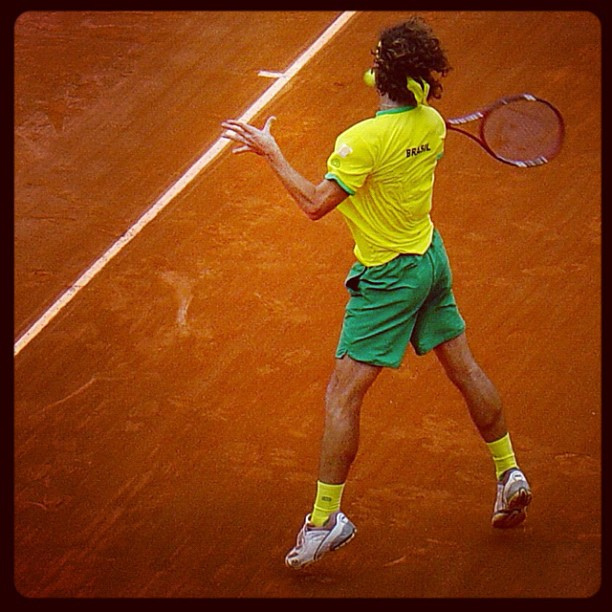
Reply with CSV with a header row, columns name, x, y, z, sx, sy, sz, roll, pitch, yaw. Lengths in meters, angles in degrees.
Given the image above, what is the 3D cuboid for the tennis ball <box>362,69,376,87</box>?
name,x,y,z,sx,sy,sz,roll,pitch,yaw
tennis ball,0.285,-1.034,3.662,0.067,0.101,0.077,3,21,12
